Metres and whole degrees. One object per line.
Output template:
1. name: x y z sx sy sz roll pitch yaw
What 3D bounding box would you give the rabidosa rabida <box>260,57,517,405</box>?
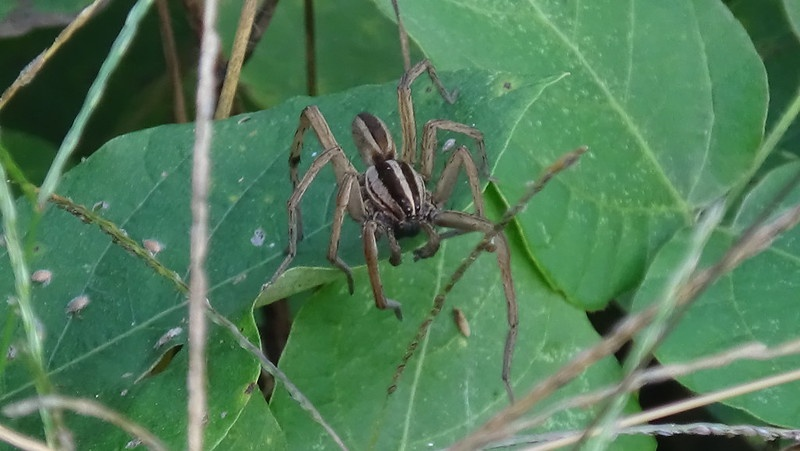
1. rabidosa rabida: 0.009 -0.029 1.417 0.395 0.469 0.392 -2 23 8
